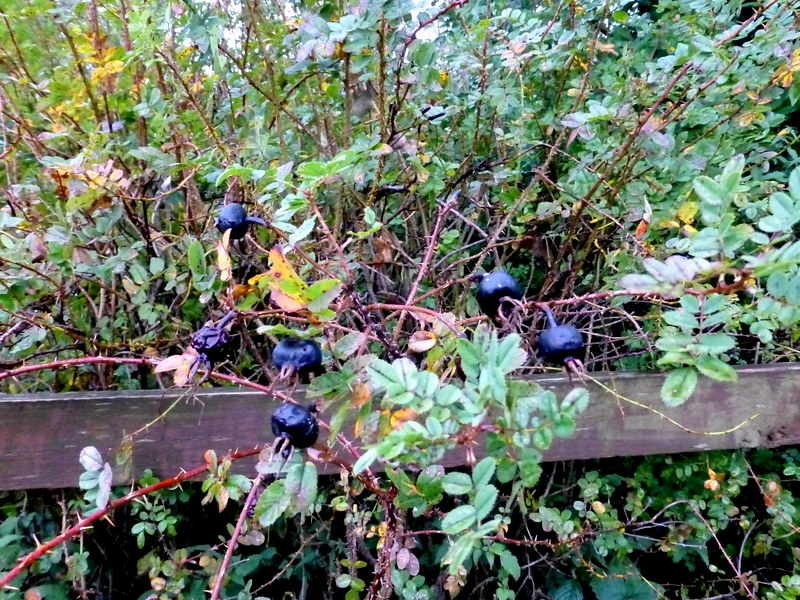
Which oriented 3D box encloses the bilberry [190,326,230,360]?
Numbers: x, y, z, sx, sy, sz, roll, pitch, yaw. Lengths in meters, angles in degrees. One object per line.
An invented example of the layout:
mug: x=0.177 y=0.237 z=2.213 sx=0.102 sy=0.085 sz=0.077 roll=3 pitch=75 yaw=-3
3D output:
bilberry: x=-0.476 y=0.108 z=1.710 sx=0.095 sy=0.076 sz=0.057 roll=-10 pitch=14 yaw=6
